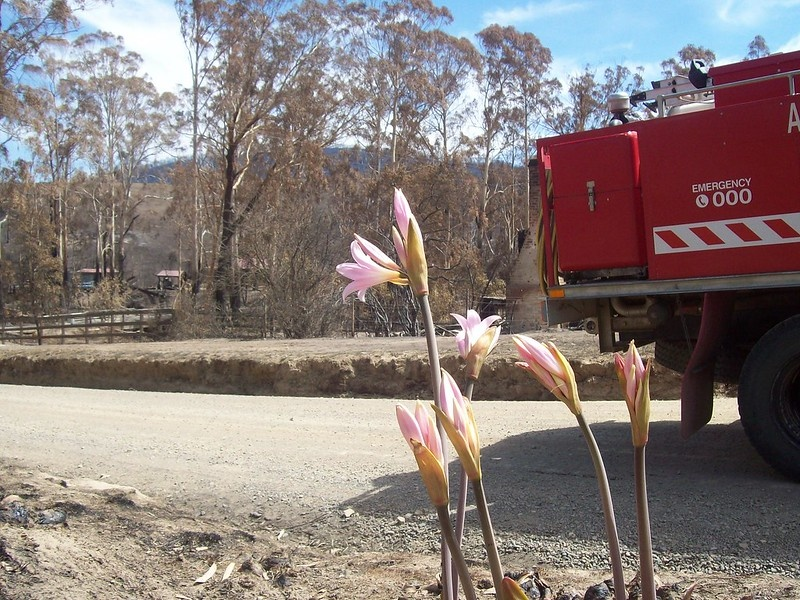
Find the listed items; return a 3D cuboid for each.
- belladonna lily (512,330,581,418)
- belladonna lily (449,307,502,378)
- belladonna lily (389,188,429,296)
[{"bbox_3d":[0.918,0.438,5.557,0.239,0.233,0.657,-26,35,-22],"label":"belladonna lily"},{"bbox_3d":[0.462,0.294,5.859,0.271,0.499,0.344,5,-1,23],"label":"belladonna lily"},{"bbox_3d":[0.054,-0.338,5.654,0.174,0.774,0.152,-6,-25,4],"label":"belladonna lily"}]
